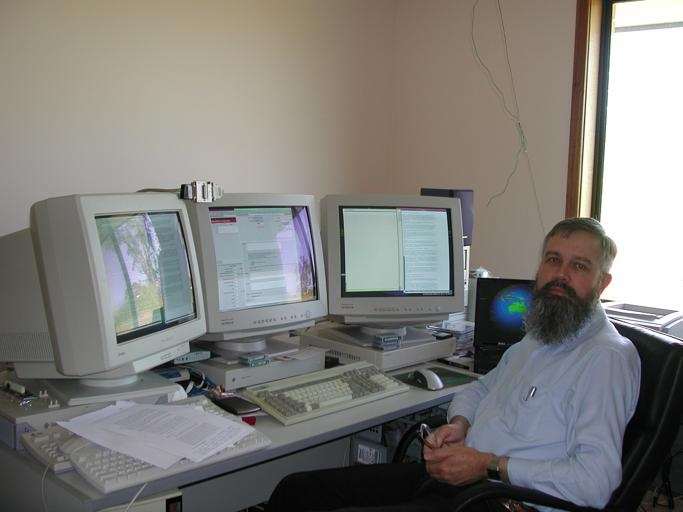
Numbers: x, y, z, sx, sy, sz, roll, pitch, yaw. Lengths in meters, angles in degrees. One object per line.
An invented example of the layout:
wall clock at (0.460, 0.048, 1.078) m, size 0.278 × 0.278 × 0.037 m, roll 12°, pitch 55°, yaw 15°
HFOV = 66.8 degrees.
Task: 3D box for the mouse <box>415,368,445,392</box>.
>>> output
mouse at (0.344, 0.478, 2.004) m, size 0.055 × 0.040 × 0.112 m, roll -5°, pitch 14°, yaw -27°

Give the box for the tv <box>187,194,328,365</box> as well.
tv at (-0.343, 0.086, 1.999) m, size 0.686 × 0.730 × 0.392 m, roll -1°, pitch 3°, yaw -36°

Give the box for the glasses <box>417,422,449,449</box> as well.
glasses at (0.303, 0.631, 1.795) m, size 0.063 × 0.022 × 0.047 m, roll 45°, pitch 19°, yaw 13°

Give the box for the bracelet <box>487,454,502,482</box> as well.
bracelet at (0.460, 0.655, 1.585) m, size 0.040 × 0.065 × 0.066 m, roll -5°, pitch -21°, yaw 1°

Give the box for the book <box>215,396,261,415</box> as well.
book at (-0.359, 0.497, 1.735) m, size 0.064 × 0.022 × 0.111 m, roll -3°, pitch 8°, yaw -42°

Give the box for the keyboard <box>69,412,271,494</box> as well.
keyboard at (-0.472, 0.531, 1.440) m, size 0.530 × 0.121 × 0.220 m, roll -9°, pitch 9°, yaw -25°
